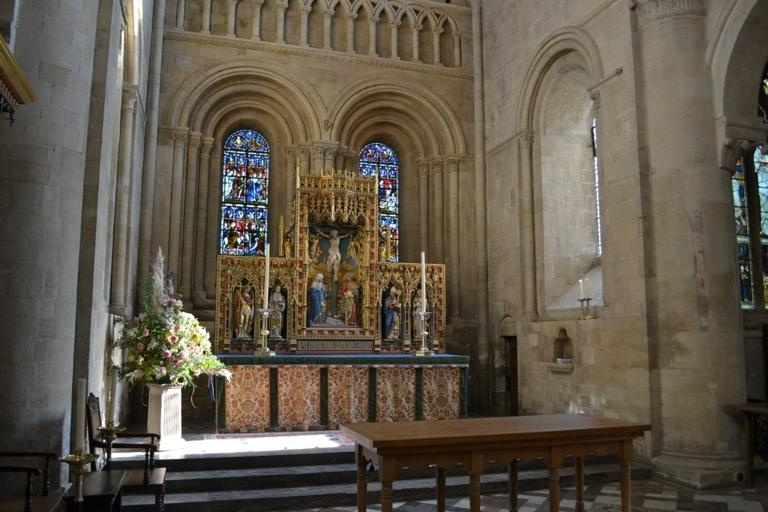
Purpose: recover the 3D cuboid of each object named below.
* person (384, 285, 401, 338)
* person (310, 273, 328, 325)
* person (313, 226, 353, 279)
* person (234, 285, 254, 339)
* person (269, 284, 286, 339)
[{"bbox_3d":[0.149,1.233,16.833,0.362,1.139,0.259,-2,-9,10],"label":"person"},{"bbox_3d":[-1.416,0.896,16.418,0.322,1.096,0.209,1,-9,-7],"label":"person"},{"bbox_3d":[-1.163,-0.032,16.771,1.025,1.272,0.365,4,-16,-26],"label":"person"},{"bbox_3d":[-2.868,1.149,15.882,0.359,1.102,0.250,1,-9,-11],"label":"person"},{"bbox_3d":[-2.229,1.178,16.117,0.384,1.097,0.222,5,-10,-28],"label":"person"}]
